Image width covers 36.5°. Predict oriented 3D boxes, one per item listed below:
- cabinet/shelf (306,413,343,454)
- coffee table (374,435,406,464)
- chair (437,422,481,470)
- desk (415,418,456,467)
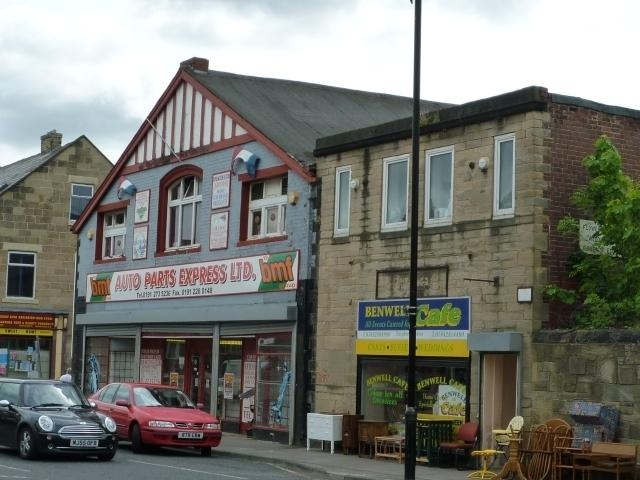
[{"bbox_3d":[-0.185,5.340,26.594,1.019,0.977,0.579,14,-22,-42],"label":"cabinet/shelf"},{"bbox_3d":[1.779,5.381,24.901,0.567,0.665,1.224,9,-15,-34],"label":"coffee table"},{"bbox_3d":[3.302,4.944,23.200,0.796,1.188,0.813,6,-10,-8],"label":"chair"},{"bbox_3d":[2.797,4.967,23.922,1.079,1.359,0.819,1,-1,-36],"label":"desk"}]
